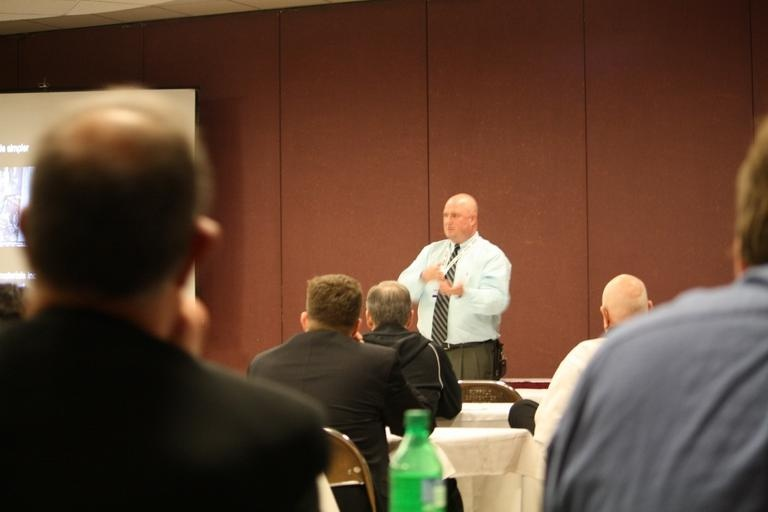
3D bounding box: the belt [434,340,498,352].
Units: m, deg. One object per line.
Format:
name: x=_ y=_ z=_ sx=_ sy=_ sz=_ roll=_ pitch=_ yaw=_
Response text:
belt: x=0.499 y=0.533 z=4.667 sx=0.262 sy=0.070 sz=0.244 roll=1 pitch=-3 yaw=-4
